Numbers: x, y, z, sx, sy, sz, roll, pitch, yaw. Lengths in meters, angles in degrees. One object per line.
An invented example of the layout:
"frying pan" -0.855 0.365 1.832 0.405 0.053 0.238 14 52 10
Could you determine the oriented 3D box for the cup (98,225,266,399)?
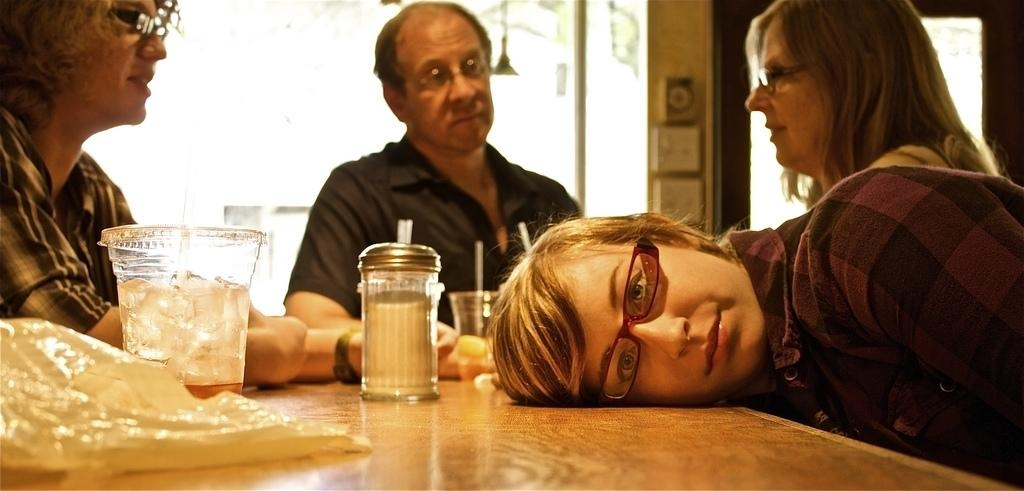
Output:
"cup" -0.832 0.180 2.050 0.572 0.392 0.463 0 -7 -1
